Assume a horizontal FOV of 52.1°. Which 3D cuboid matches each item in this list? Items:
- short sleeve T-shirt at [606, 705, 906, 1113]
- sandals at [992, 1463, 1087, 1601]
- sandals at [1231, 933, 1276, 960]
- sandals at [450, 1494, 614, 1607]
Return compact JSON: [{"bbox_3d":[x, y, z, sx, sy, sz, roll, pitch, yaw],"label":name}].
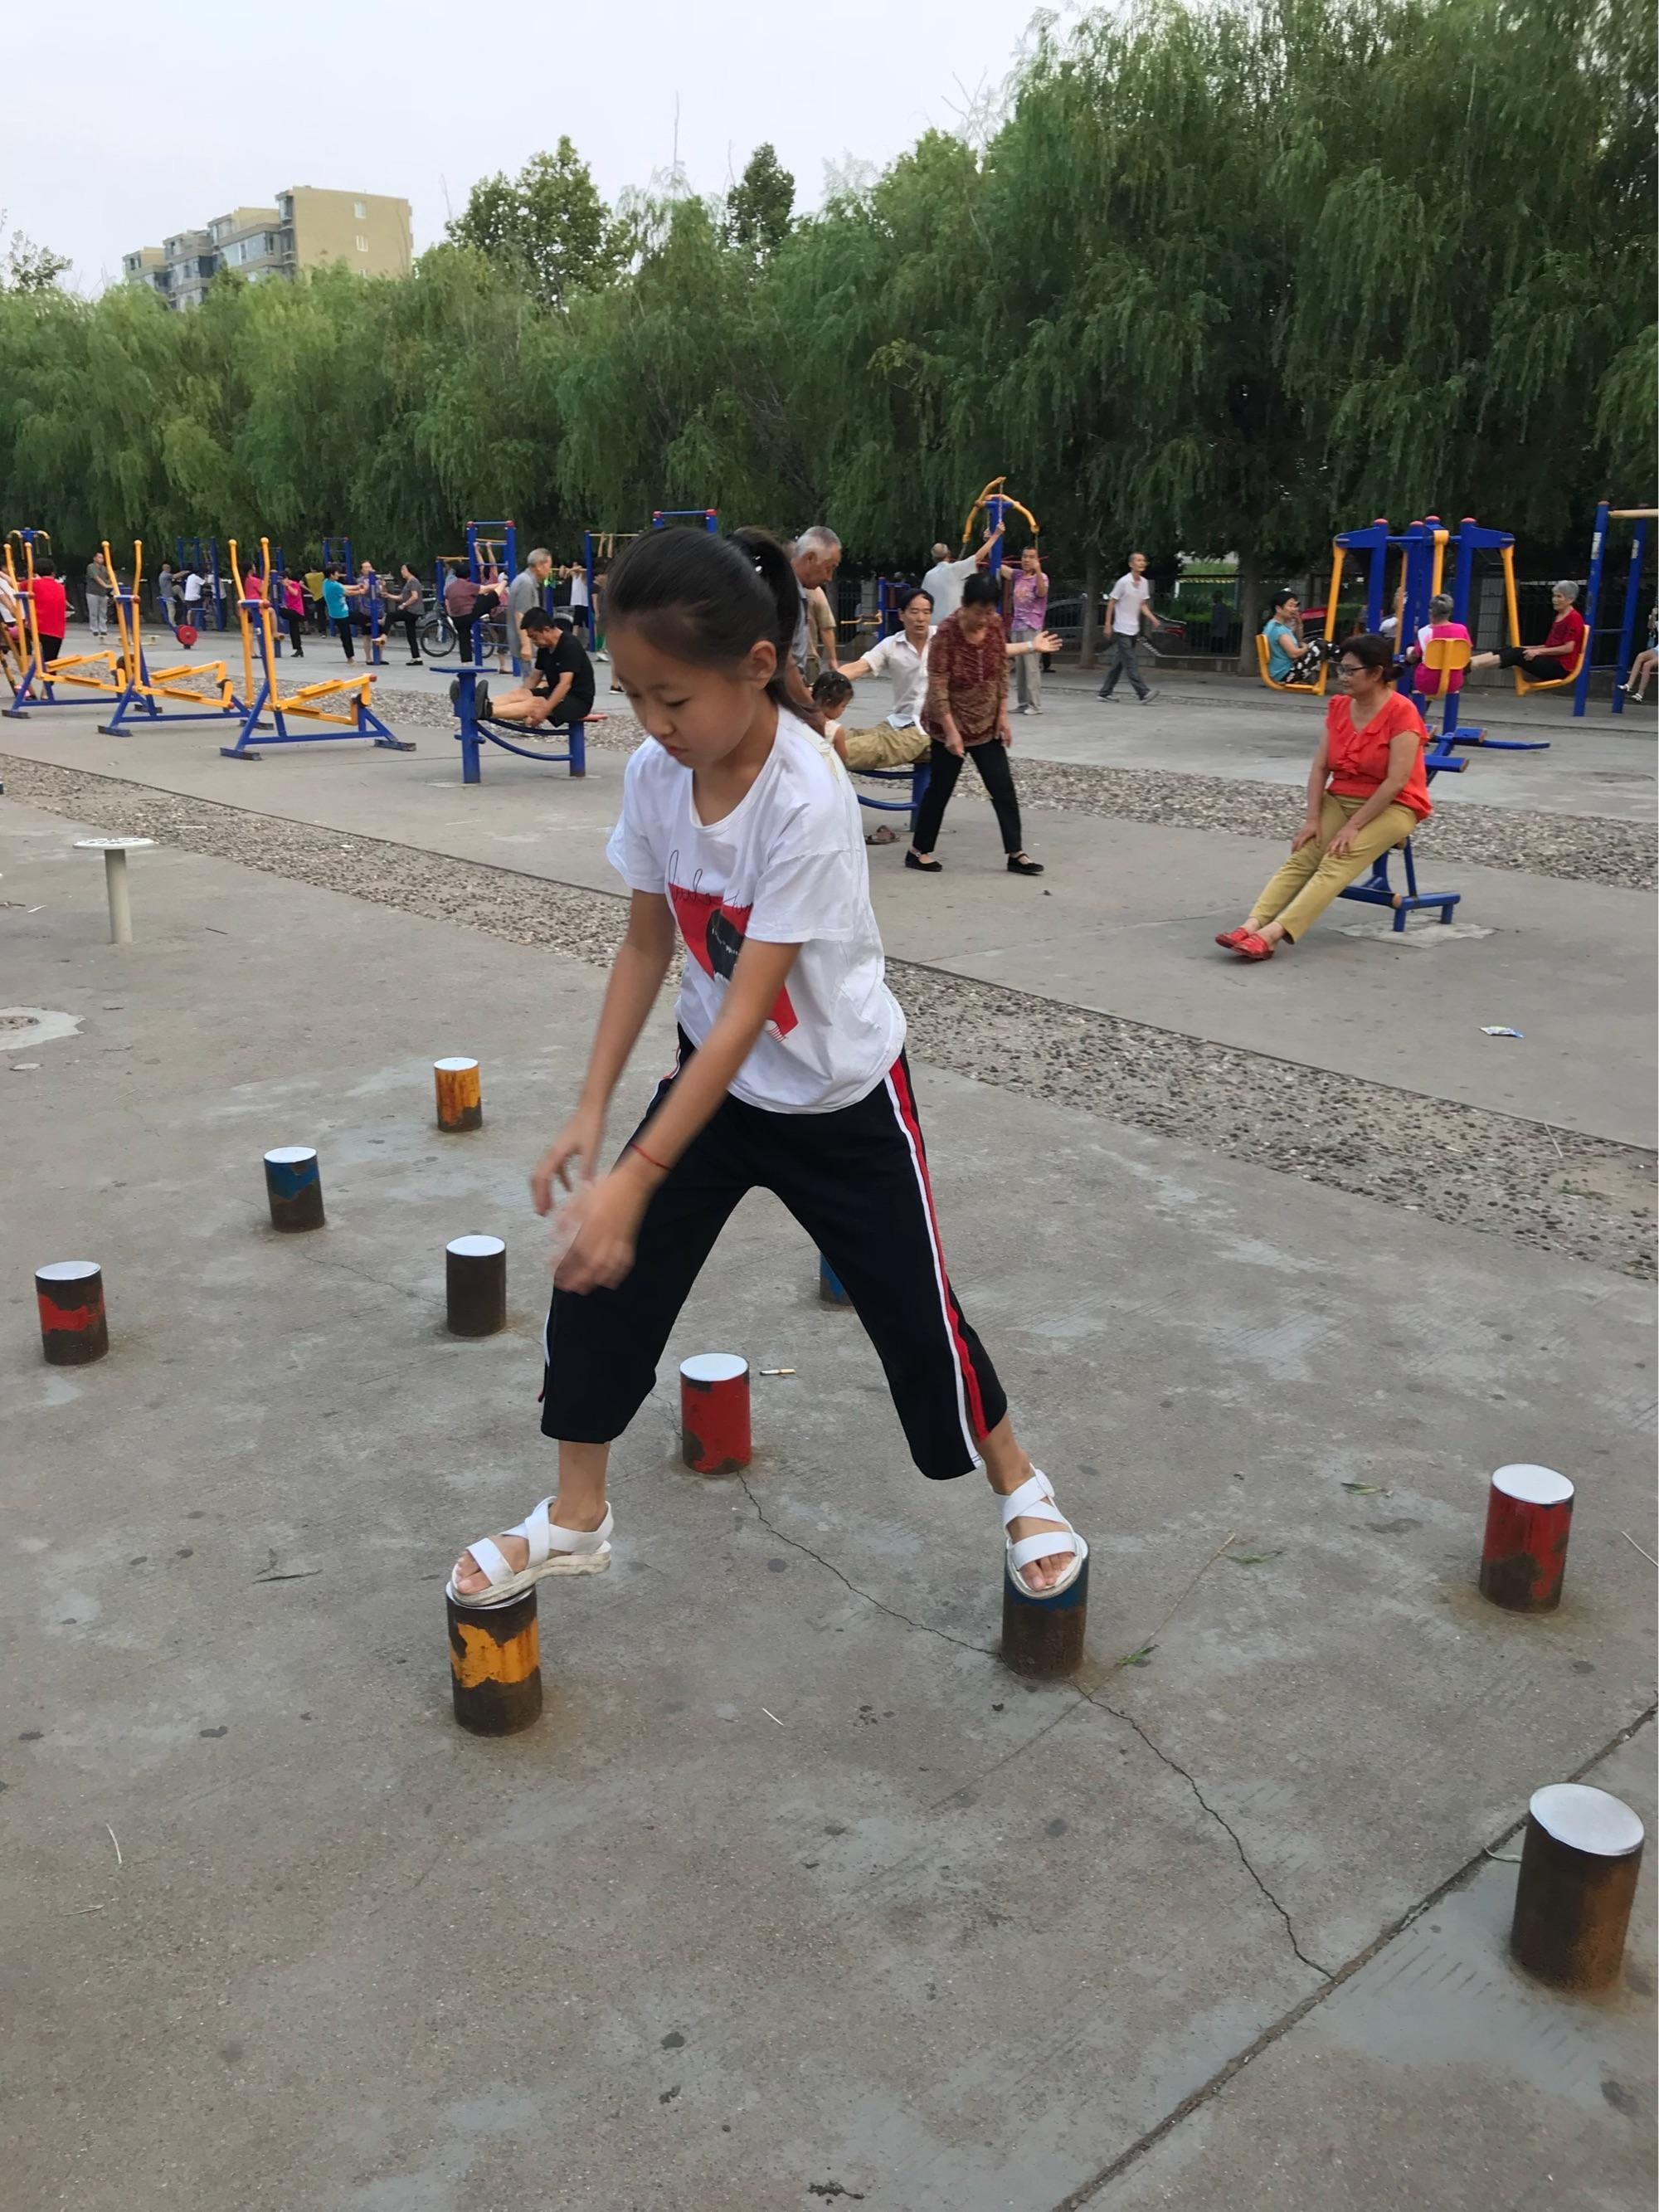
[{"bbox_3d":[-0.129,-0.236,2.084,0.373,0.480,0.268,6,14,23],"label":"short sleeve T-shirt"},{"bbox_3d":[0.293,0.599,2.407,0.078,0.081,0.208,-21,17,7],"label":"sandals"},{"bbox_3d":[1.727,-0.647,6.915,0.091,0.081,0.229,14,-6,21],"label":"sandals"},{"bbox_3d":[-0.405,0.622,2.340,0.236,0.102,0.100,-12,29,-37],"label":"sandals"}]
